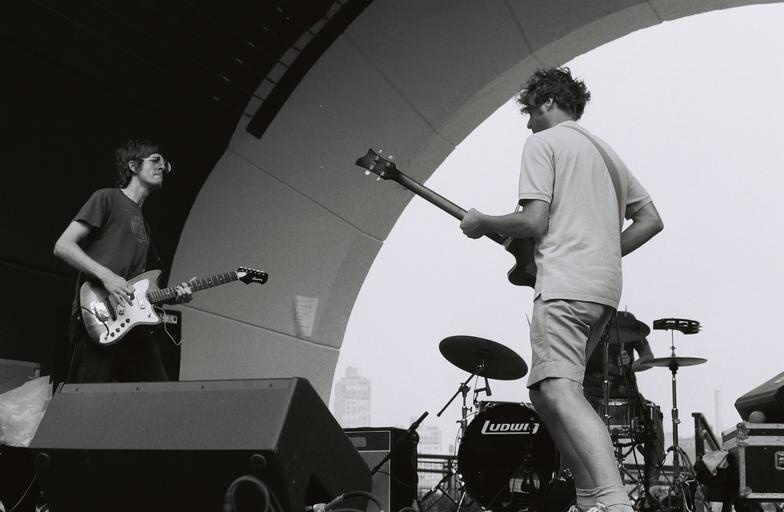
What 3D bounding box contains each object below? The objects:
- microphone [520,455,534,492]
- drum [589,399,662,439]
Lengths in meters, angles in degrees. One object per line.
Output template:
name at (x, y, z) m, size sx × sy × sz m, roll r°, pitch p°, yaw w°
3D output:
microphone at (1.120, 1.822, 6.356) m, size 0.119 × 0.255 × 0.057 m, roll -3°, pitch -5°, yaw 13°
drum at (2.200, 1.469, 6.926) m, size 0.730 × 0.316 × 0.588 m, roll -1°, pitch -9°, yaw 36°
